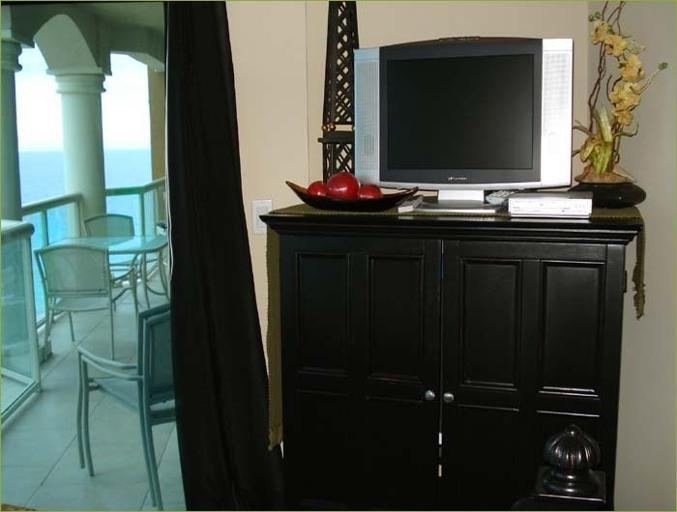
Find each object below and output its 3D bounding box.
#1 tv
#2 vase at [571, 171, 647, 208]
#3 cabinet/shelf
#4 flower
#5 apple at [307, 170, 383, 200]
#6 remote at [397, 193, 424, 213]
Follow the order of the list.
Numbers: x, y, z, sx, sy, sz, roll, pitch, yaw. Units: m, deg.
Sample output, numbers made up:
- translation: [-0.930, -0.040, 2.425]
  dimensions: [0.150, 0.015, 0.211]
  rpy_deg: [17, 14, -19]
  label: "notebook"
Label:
- translation: [0.485, -0.494, 2.306]
  dimensions: [0.672, 0.545, 0.089]
  rpy_deg: [1, 4, 14]
  label: "tv"
- translation: [1.005, -0.240, 2.232]
  dimensions: [0.166, 0.085, 0.180]
  rpy_deg: [-1, 7, 0]
  label: "vase"
- translation: [0.402, 0.352, 2.194]
  dimensions: [1.082, 1.103, 0.430]
  rpy_deg: [1, 4, 12]
  label: "cabinet/shelf"
- translation: [1.087, -0.650, 2.378]
  dimensions: [0.307, 0.700, 0.414]
  rpy_deg: [3, 9, 20]
  label: "flower"
- translation: [0.024, -0.250, 2.342]
  dimensions: [0.237, 0.082, 0.128]
  rpy_deg: [2, -2, 31]
  label: "apple"
- translation: [0.275, -0.211, 2.364]
  dimensions: [0.048, 0.057, 0.161]
  rpy_deg: [17, 26, 29]
  label: "remote"
